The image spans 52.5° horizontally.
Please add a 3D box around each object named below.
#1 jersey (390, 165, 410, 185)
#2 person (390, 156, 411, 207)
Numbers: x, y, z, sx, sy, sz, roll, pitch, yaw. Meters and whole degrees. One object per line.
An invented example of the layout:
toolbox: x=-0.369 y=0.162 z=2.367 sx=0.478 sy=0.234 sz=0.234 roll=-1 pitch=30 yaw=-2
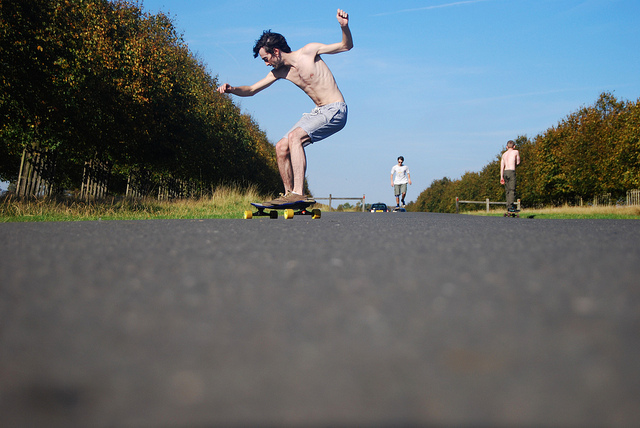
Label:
jersey: x=1.861 y=-0.883 z=15.046 sx=0.519 sy=0.593 sz=0.218 roll=0 pitch=0 yaw=7
person: x=2.080 y=-0.802 z=16.942 sx=0.440 sy=1.263 sz=1.587 roll=2 pitch=1 yaw=6
